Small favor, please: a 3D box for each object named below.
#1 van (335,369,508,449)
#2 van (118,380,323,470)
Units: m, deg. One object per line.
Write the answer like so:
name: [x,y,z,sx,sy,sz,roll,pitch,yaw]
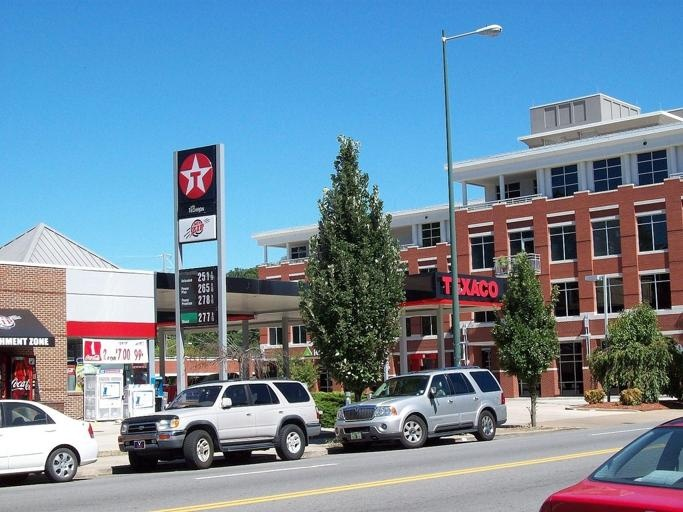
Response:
van: [2.463,4.711,23.421,4.506,1.975,2.385,10,-19,-39]
van: [-3.194,4.446,20.207,4.413,2.000,2.417,11,-17,-43]
